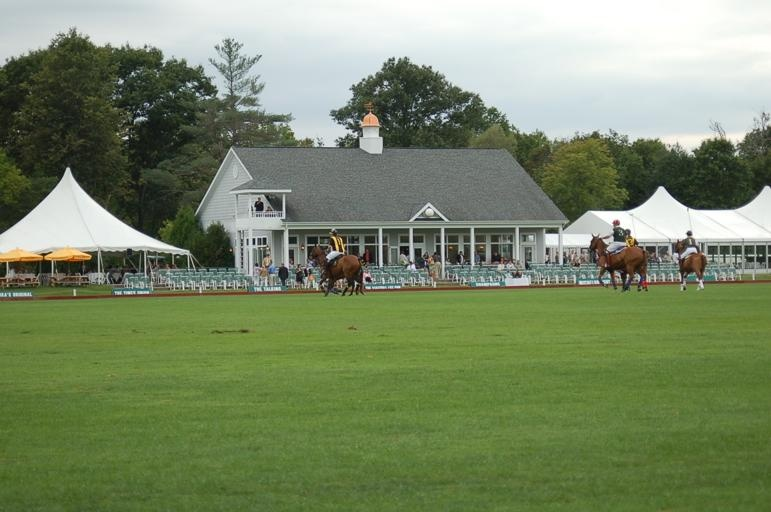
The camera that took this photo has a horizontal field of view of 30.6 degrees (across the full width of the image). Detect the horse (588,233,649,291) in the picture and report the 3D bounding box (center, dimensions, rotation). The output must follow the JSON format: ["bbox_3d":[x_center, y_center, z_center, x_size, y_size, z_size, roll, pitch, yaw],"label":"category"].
[{"bbox_3d":[9.276,0.301,57.529,4.100,2.777,1.255,4,3,39],"label":"horse"}]
